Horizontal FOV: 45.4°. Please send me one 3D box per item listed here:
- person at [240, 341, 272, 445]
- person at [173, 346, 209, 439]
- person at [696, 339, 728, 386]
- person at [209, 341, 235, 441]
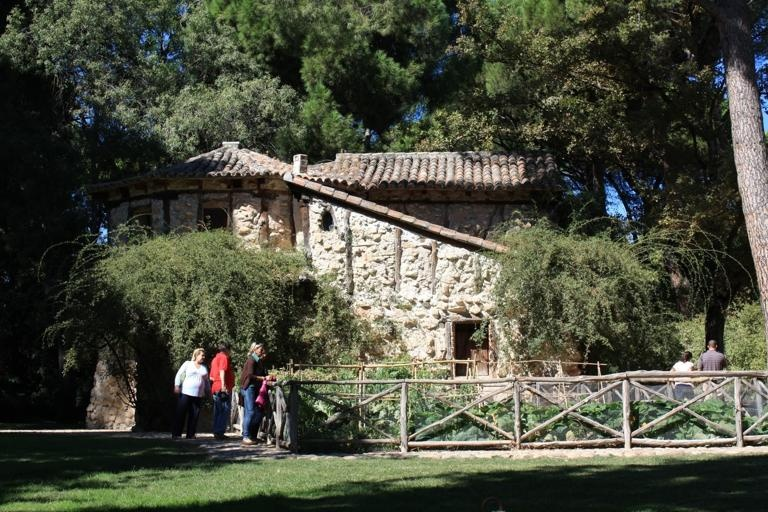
[{"bbox_3d":[-3.047,3.249,21.746,0.639,2.381,1.014,2,-8,-14],"label":"person"},{"bbox_3d":[-4.762,3.402,22.674,0.850,2.195,0.760,1,-8,-13],"label":"person"},{"bbox_3d":[8.411,2.545,23.527,0.680,0.802,1.681,-3,-9,19],"label":"person"},{"bbox_3d":[-4.056,3.358,22.893,0.591,2.335,1.335,1,-8,-11],"label":"person"}]
